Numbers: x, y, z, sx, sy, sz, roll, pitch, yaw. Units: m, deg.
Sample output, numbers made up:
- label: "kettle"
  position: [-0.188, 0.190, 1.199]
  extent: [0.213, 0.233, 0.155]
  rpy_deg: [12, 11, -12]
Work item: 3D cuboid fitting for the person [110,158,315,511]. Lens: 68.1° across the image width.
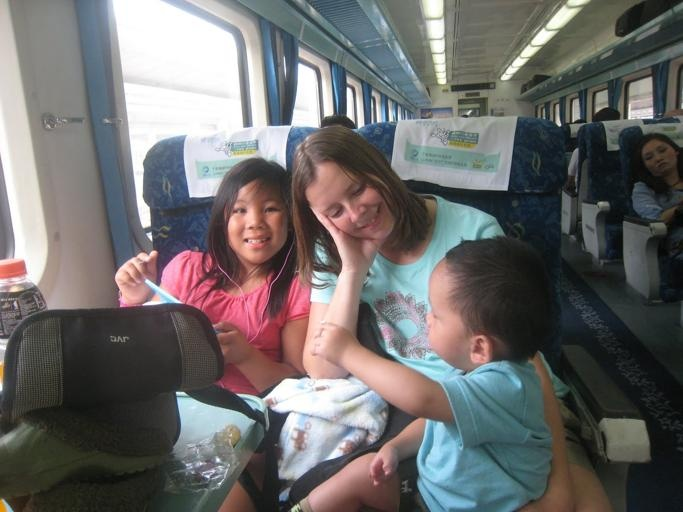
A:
- label: "person"
  position: [-0.517, 0.292, 1.947]
  extent: [0.610, 1.273, 0.619]
  rpy_deg: [1, 10, -24]
